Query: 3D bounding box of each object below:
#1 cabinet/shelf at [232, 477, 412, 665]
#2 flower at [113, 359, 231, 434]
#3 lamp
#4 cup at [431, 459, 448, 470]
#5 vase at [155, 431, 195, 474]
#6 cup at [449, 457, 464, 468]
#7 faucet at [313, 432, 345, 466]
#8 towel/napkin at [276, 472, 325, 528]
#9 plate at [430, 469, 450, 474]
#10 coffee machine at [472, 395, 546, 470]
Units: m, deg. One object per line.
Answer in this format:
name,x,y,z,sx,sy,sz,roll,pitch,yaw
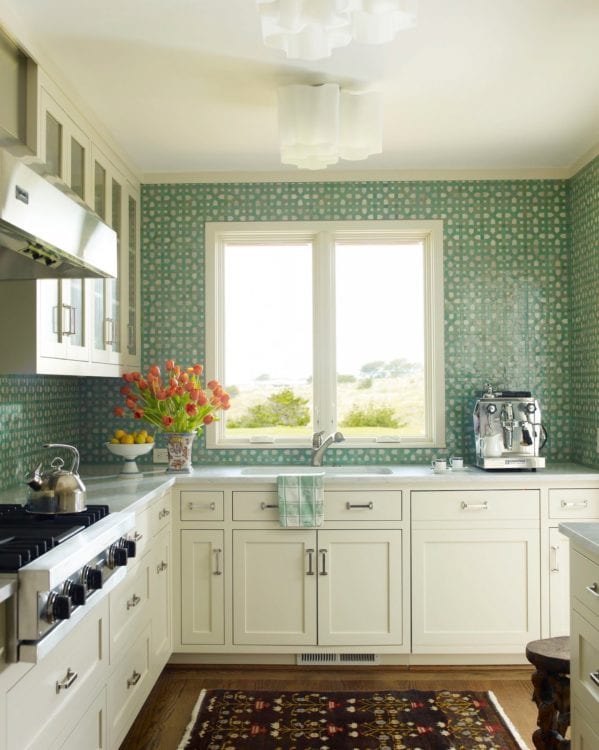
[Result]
cabinet/shelf,0.118,0.844,3.331,1.220,1.054,0.660,-1,-6,2
flower,-0.629,0.116,3.264,0.485,0.305,0.425,2,2,-4
lamp,0.115,-0.995,2.652,0.401,0.260,0.365,0,-1,-1
cup,0.656,0.427,3.176,0.085,0.058,0.056,-2,-4,34
vase,-0.582,0.377,3.256,0.199,0.185,0.177,0,-6,1
cup,0.773,0.425,3.254,0.087,0.075,0.055,0,-3,17
faucet,0.141,0.385,3.460,0.146,0.187,0.282,0,-1,0
towel/napkin,0.061,0.570,3.077,0.238,0.297,0.230,0,-2,6
plate,0.668,0.449,3.134,0.082,0.020,0.127,0,-1,12
coffee machine,1.009,0.266,3.218,0.305,0.372,0.239,0,-1,9
